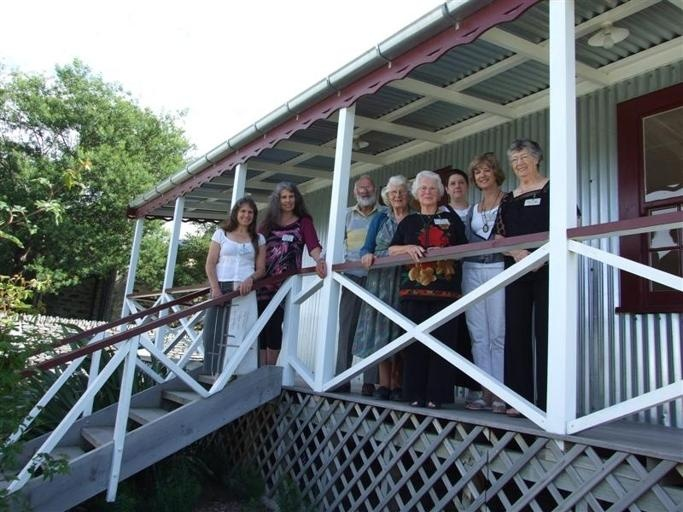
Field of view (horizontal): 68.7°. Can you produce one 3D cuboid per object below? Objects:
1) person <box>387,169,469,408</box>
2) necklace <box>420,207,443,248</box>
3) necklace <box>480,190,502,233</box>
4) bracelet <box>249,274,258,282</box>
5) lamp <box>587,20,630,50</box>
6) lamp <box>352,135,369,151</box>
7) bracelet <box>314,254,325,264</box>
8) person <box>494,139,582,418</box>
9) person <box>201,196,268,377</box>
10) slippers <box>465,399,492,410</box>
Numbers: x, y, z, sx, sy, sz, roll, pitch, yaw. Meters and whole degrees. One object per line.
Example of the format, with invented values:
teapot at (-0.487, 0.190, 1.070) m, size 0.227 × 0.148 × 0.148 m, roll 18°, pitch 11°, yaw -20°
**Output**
person at (0.695, 0.211, 3.880) m, size 0.530 × 1.797 × 0.539 m, roll 3°, pitch -2°, yaw -28°
necklace at (0.682, -0.225, 3.786) m, size 0.244 × 0.244 × 0.080 m, roll -3°, pitch -14°, yaw 24°
necklace at (1.193, -0.350, 4.032) m, size 0.081 × 0.340 × 0.199 m, roll 32°, pitch -22°, yaw -36°
bracelet at (-0.839, 0.201, 4.765) m, size 0.059 × 0.059 × 0.014 m, roll 32°, pitch -39°, yaw 4°
lamp at (2.199, -1.814, 4.084) m, size 0.252 × 0.163 × 0.246 m, roll 0°, pitch -13°, yaw 1°
lamp at (0.245, -1.493, 6.529) m, size 0.157 × 0.110 × 0.155 m, roll 3°, pitch -4°, yaw -31°
bracelet at (-0.199, 0.033, 4.668) m, size 0.112 × 0.078 × 0.041 m, roll 1°, pitch 28°, yaw 44°
person at (1.286, 0.103, 3.559) m, size 0.362 × 1.982 × 0.503 m, roll 1°, pitch -2°, yaw 18°
person at (-1.072, 0.327, 4.852) m, size 0.613 × 1.874 × 0.537 m, roll 2°, pitch -2°, yaw 2°
slippers at (1.052, 1.128, 3.769) m, size 0.179 × 0.047 × 0.073 m, roll 6°, pitch -15°, yaw -19°
